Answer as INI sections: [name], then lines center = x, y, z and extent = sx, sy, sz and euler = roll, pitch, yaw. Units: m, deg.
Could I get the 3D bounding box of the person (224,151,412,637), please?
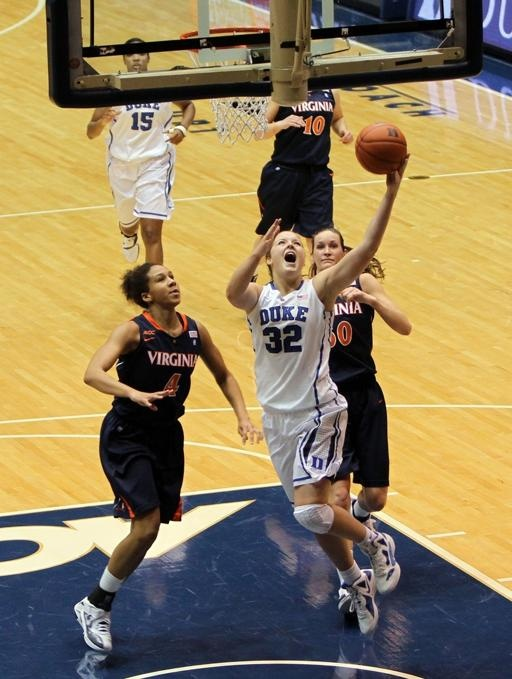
[person]
center = 0.222, 0.248, 2.489
extent = 0.570, 1.712, 0.674
euler = 2, 6, 10

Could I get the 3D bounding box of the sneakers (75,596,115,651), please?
[sneakers]
center = -0.565, 0.979, 2.353
extent = 0.108, 0.167, 0.219
euler = -2, 5, -25
